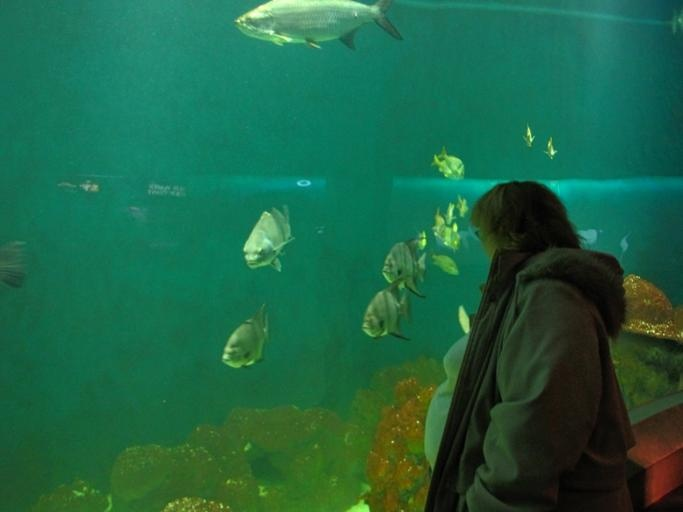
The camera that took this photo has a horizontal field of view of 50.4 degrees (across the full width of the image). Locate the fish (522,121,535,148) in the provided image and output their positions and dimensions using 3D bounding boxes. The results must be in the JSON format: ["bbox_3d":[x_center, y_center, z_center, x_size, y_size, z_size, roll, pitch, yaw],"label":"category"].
[{"bbox_3d":[1.953,-1.243,7.547,0.117,0.234,0.044,-4,11,-19],"label":"fish"}]

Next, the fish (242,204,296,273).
[{"bbox_3d":[-0.647,-0.151,6.460,0.256,0.383,0.675,-3,15,16],"label":"fish"}]

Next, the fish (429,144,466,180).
[{"bbox_3d":[1.058,-0.899,7.143,0.306,0.264,0.074,41,-8,-6],"label":"fish"}]

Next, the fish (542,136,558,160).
[{"bbox_3d":[2.213,-1.127,7.664,0.145,0.219,0.030,-6,12,-28],"label":"fish"}]

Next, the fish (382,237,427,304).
[{"bbox_3d":[0.552,0.095,6.560,0.248,0.391,0.543,4,-4,38],"label":"fish"}]
